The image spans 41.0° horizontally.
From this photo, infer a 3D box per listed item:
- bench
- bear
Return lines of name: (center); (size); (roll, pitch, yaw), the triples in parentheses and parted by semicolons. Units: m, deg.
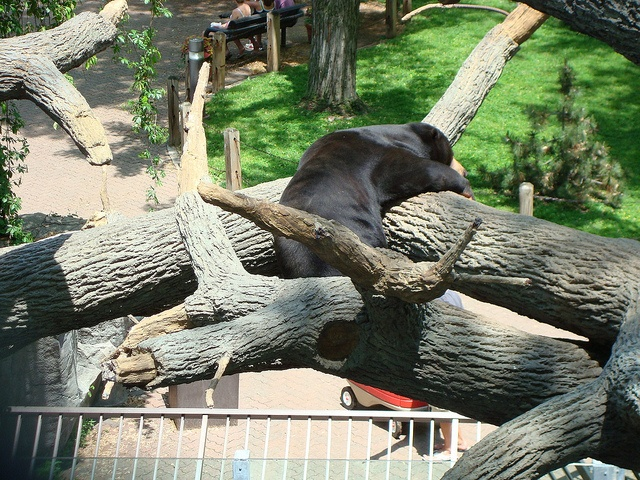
bench: (-1.462, -4.891, 19.910); (1.345, 1.097, 2.933); (10, 24, 22)
bear: (0.515, -0.536, 8.061); (1.824, 1.091, 0.973); (-24, 11, -23)
